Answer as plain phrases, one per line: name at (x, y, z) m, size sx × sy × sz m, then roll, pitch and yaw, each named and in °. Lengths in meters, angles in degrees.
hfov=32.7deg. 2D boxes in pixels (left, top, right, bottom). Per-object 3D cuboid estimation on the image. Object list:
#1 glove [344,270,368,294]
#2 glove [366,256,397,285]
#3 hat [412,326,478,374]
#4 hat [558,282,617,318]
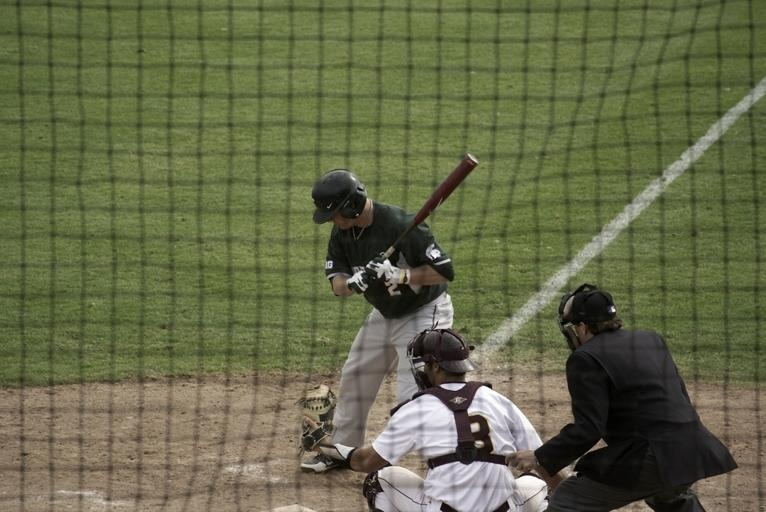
glove at (-0.311, 0.310, 16.189) m, size 0.283 × 0.304 × 0.436 m, roll 8°, pitch -12°, yaw -2°
glove at (-0.022, 0.173, 16.027) m, size 0.290 × 0.292 × 0.203 m, roll 17°, pitch -16°, yaw -40°
hat at (0.751, 1.118, 15.334) m, size 0.750 × 0.299 × 0.522 m, roll 3°, pitch 3°, yaw 37°
hat at (2.383, 0.544, 15.430) m, size 0.614 × 0.282 × 0.436 m, roll 10°, pitch 16°, yaw 39°
